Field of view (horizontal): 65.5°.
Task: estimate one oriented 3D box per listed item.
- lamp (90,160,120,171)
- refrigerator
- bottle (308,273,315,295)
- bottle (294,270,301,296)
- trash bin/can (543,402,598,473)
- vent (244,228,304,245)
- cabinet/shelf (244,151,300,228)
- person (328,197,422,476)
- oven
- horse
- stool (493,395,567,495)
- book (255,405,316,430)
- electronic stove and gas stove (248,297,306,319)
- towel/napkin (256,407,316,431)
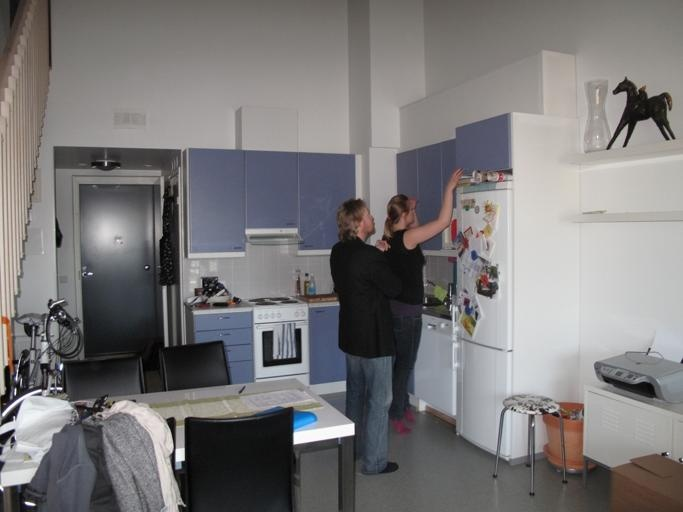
[{"bbox_3d":[-2.777,-1.080,6.249,0.303,0.111,0.268,-4,8,-16],"label":"lamp"},{"bbox_3d":[1.176,0.485,4.433,0.221,2.186,0.647,-5,8,-26],"label":"refrigerator"},{"bbox_3d":[-0.340,0.332,6.274,0.076,0.209,0.196,-2,8,-3],"label":"bottle"},{"bbox_3d":[-0.508,0.300,6.293,0.078,0.291,0.089,-3,8,-5],"label":"bottle"},{"bbox_3d":[1.747,1.417,4.245,0.465,0.461,0.471,1,3,37],"label":"trash bin/can"},{"bbox_3d":[-0.736,-0.222,5.799,0.606,0.195,0.182,-4,8,-12],"label":"vent"},{"bbox_3d":[-0.751,-0.720,5.786,0.565,0.814,0.172,-3,8,-9],"label":"cabinet/shelf"},{"bbox_3d":[0.193,0.636,4.154,0.564,2.151,0.290,0,8,16],"label":"person"},{"bbox_3d":[-0.602,1.243,5.762,0.600,0.858,0.599,-3,-35,-3],"label":"oven"},{"bbox_3d":[2.194,-1.057,3.892,0.205,0.494,0.479,-8,10,-40],"label":"horse"},{"bbox_3d":[1.435,1.421,4.026,0.512,0.621,0.514,-1,3,28],"label":"stool"},{"bbox_3d":[-0.296,0.865,2.825,0.154,0.049,0.153,4,-1,-37],"label":"book"},{"bbox_3d":[-0.720,0.579,5.821,0.598,0.206,0.518,-5,8,-22],"label":"electronic stove and gas stove"},{"bbox_3d":[-0.259,0.903,2.926,0.206,0.071,0.204,4,-2,-38],"label":"towel/napkin"}]
